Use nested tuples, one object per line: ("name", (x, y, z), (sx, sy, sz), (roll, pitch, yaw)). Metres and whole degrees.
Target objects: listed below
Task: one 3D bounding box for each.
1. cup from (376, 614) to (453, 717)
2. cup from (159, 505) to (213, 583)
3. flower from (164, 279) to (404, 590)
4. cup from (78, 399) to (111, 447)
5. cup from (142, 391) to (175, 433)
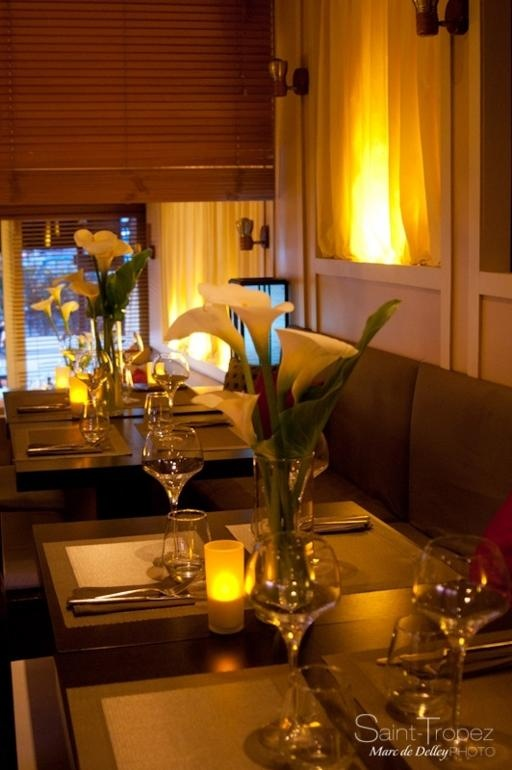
("cup", (0.149, 0.266, 0.557), (0.056, 0.069, 0.067), (1, 1, 10))
("cup", (-0.110, 0.240, 0.935), (0.086, 0.126, 0.090), (1, -1, 0))
("flower", (0.079, 0.022, 0.769), (0.293, 0.391, 0.237), (0, 3, 22))
("cup", (-0.525, 0.119, 2.011), (0.118, 0.188, 0.128), (-1, 7, 0))
("cup", (-0.288, 0.086, 1.940), (0.112, 0.165, 0.117), (0, -4, 0))
